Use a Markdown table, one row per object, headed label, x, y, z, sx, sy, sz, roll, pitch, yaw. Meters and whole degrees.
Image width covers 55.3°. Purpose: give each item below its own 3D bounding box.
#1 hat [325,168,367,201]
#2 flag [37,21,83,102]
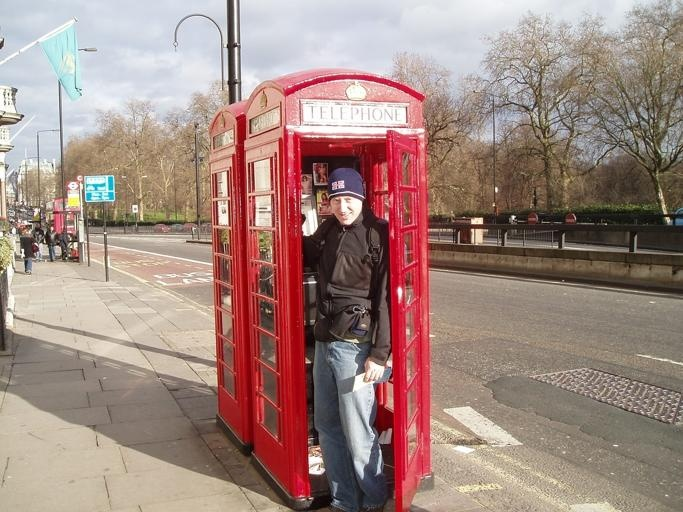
| label | x | y | z | sx | sy | sz | roll | pitch | yaw |
| --- | --- | --- | --- | --- | --- | --- | --- | --- | --- |
| hat | 0.040 | -0.634 | 5.766 | 0.225 | 0.276 | 0.303 | -5 | 6 | 27 |
| flag | -6.649 | -4.680 | 15.718 | 0.770 | 1.767 | 0.953 | 0 | 6 | -3 |
